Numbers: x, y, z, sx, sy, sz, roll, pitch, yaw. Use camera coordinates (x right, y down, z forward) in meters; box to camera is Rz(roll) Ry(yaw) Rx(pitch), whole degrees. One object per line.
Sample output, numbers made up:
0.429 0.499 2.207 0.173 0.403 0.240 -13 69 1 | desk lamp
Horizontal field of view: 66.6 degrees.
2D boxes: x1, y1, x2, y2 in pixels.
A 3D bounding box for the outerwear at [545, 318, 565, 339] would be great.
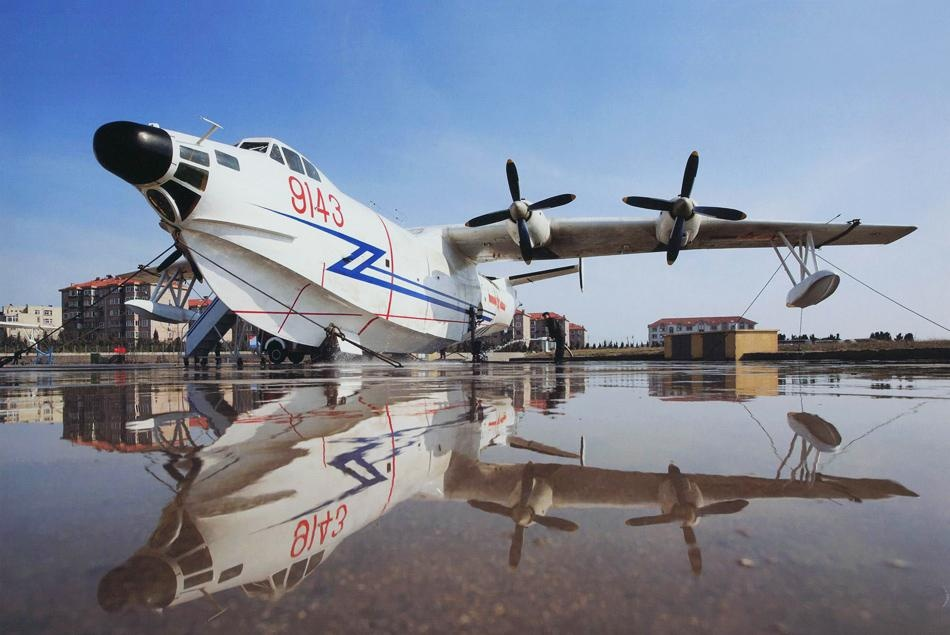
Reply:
1.830 0.226 16.862 0.462 0.440 1.329 1 4 21 | outerwear
